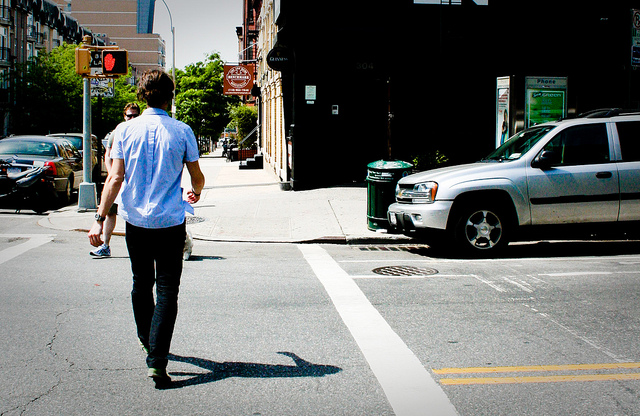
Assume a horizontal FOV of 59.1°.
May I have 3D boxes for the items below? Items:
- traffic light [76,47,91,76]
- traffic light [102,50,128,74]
[{"bbox_3d":[-6.400,-3.965,15.247,0.367,0.716,0.318,-2,8,-22],"label":"traffic light"},{"bbox_3d":[-5.632,-3.978,15.381,0.675,0.625,0.323,-1,5,-13],"label":"traffic light"}]
